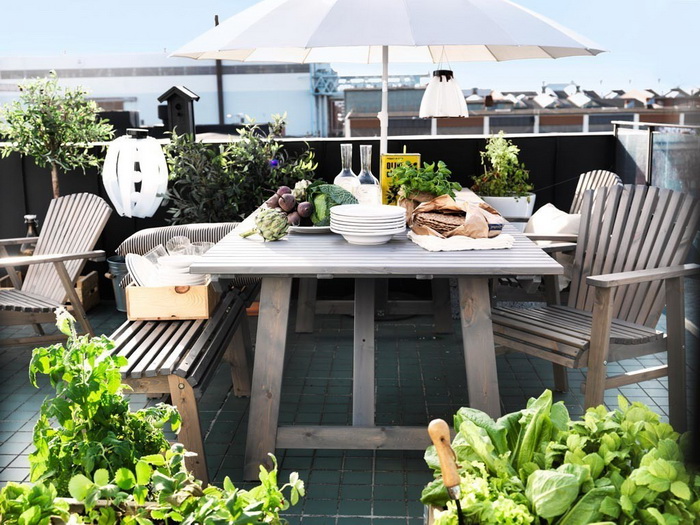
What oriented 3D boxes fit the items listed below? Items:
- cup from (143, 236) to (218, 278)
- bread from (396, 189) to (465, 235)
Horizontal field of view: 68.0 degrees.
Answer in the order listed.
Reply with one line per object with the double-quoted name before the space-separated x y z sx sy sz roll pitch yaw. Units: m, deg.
"cup" -0.907 -0.060 2.785 0.292 0.257 0.331 2 16 -4
"bread" 0.410 -0.244 2.568 0.249 0.116 0.258 4 30 7
